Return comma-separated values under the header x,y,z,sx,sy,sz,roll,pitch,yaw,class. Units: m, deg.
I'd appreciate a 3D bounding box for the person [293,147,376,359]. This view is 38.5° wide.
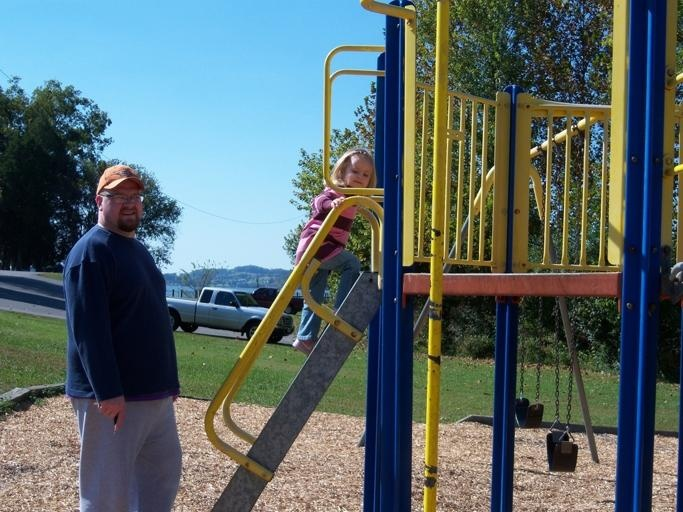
x,y,z,sx,sy,sz,roll,pitch,yaw,class
-0.089,-0.045,8.662,0.702,1.869,1.150,5,-4,-18,person

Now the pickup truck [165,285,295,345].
x,y,z,sx,sy,sz,roll,pitch,yaw,class
-2.737,1.368,23.685,3.590,1.595,1.534,2,-1,21,pickup truck
